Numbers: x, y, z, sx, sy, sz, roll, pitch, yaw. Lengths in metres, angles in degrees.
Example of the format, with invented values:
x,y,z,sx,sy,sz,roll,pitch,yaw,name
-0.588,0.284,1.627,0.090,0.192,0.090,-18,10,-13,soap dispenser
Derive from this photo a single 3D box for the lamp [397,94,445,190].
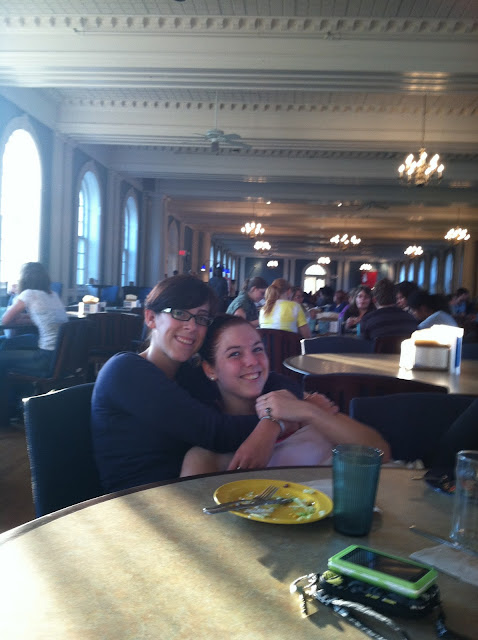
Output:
x,y,z,sx,sy,sz,roll,pitch,yaw,name
2.484,-2.342,7.181,0.582,1.351,2.416,-2,1,21,lamp

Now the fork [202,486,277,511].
x,y,z,sx,sy,sz,roll,pitch,yaw,name
0.003,0.279,0.811,0.017,0.013,0.122,5,5,44,fork

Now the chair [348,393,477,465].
x,y,z,sx,sy,sz,roll,pitch,yaw,name
0.494,0.303,1.563,0.272,0.299,0.262,0,-15,7,chair

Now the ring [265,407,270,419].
x,y,z,sx,sy,sz,roll,pitch,yaw,name
0.073,0.238,1.327,0.009,0.021,0.016,-5,-3,-6,ring

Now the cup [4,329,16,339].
x,y,z,sx,sy,sz,roll,pitch,yaw,name
-2.182,0.140,4.966,0.090,0.080,0.084,4,5,0,cup

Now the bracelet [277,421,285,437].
x,y,z,sx,sy,sz,roll,pitch,yaw,name
0.110,0.283,1.342,0.017,0.042,0.033,1,2,-21,bracelet
